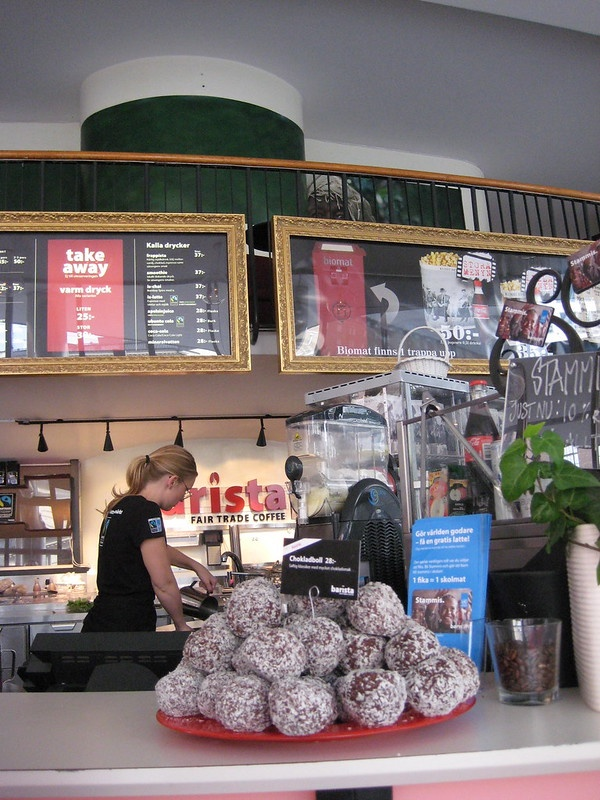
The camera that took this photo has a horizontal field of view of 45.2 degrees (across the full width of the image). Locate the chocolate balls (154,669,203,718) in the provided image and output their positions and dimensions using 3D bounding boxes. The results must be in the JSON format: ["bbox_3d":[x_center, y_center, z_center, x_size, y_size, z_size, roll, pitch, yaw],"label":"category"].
[{"bbox_3d":[-0.145,0.350,0.871,0.070,0.062,0.044,-2,-9,13],"label":"chocolate balls"}]

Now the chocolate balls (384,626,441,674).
[{"bbox_3d":[0.132,0.290,0.868,0.057,0.033,0.047,-27,27,-16],"label":"chocolate balls"}]

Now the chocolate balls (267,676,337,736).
[{"bbox_3d":[0.003,0.320,0.748,0.069,0.035,0.057,-9,44,-21],"label":"chocolate balls"}]

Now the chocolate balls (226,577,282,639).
[{"bbox_3d":[-0.059,0.258,0.889,0.070,0.071,0.069,4,-2,0],"label":"chocolate balls"}]

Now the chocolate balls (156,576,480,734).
[{"bbox_3d":[0.030,0.253,0.837,0.246,0.086,0.230,0,-8,0],"label":"chocolate balls"}]

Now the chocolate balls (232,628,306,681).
[{"bbox_3d":[-0.034,0.275,0.805,0.065,0.034,0.058,-5,-7,40],"label":"chocolate balls"}]

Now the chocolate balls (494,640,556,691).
[{"bbox_3d":[0.294,0.343,0.940,0.069,0.050,0.069,0,-15,0],"label":"chocolate balls"}]

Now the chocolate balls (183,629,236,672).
[{"bbox_3d":[-0.117,0.305,0.899,0.051,0.037,0.061,2,-9,33],"label":"chocolate balls"}]

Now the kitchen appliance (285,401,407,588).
[{"bbox_3d":[0.113,0.195,1.544,0.307,0.410,0.267,14,-24,-35],"label":"kitchen appliance"}]

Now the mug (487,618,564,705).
[{"bbox_3d":[0.297,0.337,0.943,0.108,0.105,0.105,11,-23,-34],"label":"mug"}]

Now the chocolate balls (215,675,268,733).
[{"bbox_3d":[-0.062,0.327,0.778,0.054,0.049,0.062,1,-2,-2],"label":"chocolate balls"}]

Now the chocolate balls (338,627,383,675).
[{"bbox_3d":[0.074,0.298,0.851,0.045,0.027,0.052,0,13,14],"label":"chocolate balls"}]

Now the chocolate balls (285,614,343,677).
[{"bbox_3d":[0.025,0.281,0.832,0.069,0.075,0.070,1,-3,0],"label":"chocolate balls"}]

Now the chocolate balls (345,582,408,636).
[{"bbox_3d":[0.095,0.259,0.885,0.058,0.037,0.066,5,18,-10],"label":"chocolate balls"}]

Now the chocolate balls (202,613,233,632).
[{"bbox_3d":[-0.105,0.279,0.916,0.023,0.023,0.028,-1,0,-12],"label":"chocolate balls"}]
